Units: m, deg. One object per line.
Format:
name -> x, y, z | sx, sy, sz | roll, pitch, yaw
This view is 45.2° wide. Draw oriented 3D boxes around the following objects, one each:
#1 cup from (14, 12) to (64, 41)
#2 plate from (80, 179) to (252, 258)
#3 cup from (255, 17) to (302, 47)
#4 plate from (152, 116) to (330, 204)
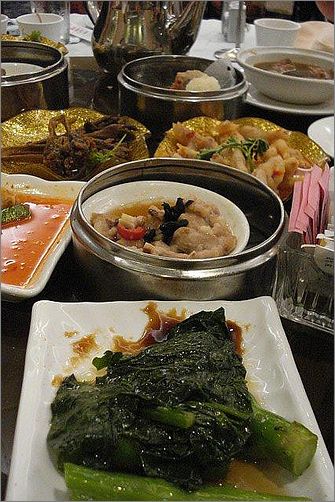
cup -> -0.769, -1.377, 2.439 | 0.248, 0.212, 0.315 | -2, 41, -10
plate -> 0.002, -0.079, 1.044 | 0.278, 0.064, 0.275 | -1, 30, -15
cup -> 0.710, -1.448, 2.660 | 0.285, 0.164, 0.234 | 9, 30, 11
plate -> 0.285, -0.368, 1.419 | 0.405, 0.111, 0.425 | -1, 37, -3
